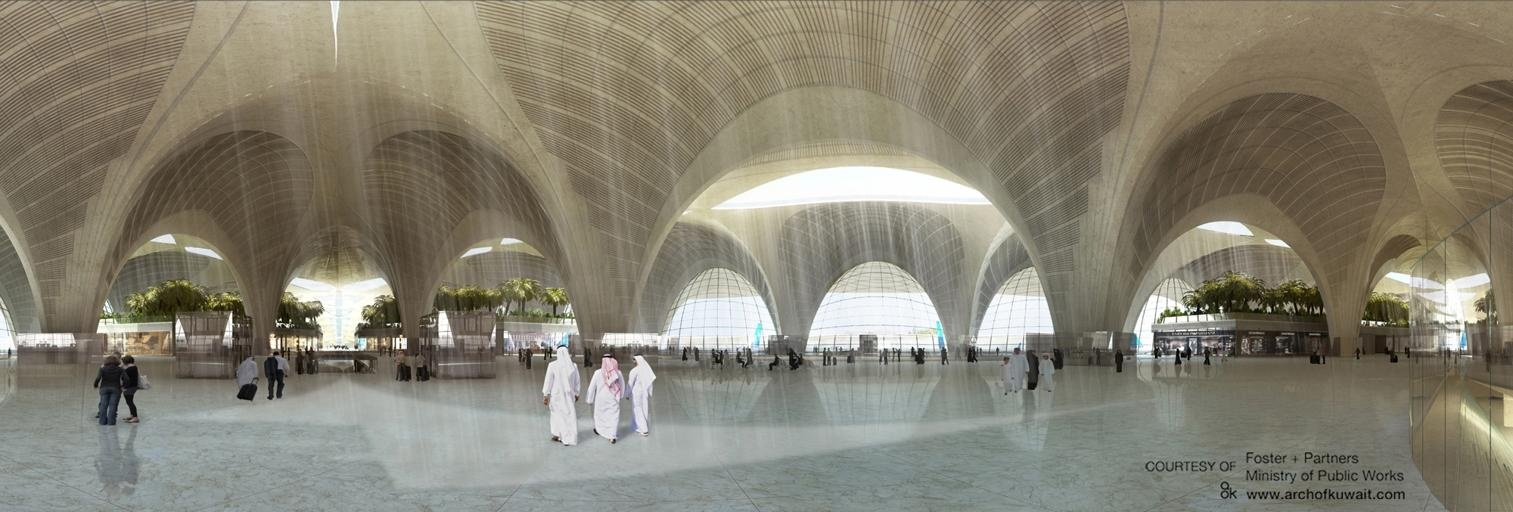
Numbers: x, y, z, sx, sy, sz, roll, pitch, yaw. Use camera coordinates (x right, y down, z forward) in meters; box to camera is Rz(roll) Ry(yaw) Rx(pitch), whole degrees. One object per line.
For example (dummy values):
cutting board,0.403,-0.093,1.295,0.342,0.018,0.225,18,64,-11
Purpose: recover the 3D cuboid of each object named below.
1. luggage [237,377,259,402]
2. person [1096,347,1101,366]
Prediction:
luggage,-42.429,11.047,57.371,1.198,1.699,1.414,6,-12,-30
person,37.500,10.973,75.408,0.723,1.597,0.168,2,-12,-12
